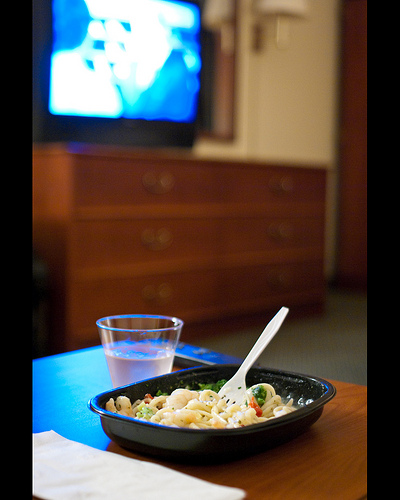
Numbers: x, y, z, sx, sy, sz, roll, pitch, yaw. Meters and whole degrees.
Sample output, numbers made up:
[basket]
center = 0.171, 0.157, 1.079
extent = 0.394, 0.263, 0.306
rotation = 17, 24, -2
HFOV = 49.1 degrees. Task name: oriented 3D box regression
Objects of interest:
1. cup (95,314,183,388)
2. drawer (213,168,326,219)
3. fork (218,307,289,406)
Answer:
[cup]
center = -0.064, 0.095, 0.464
extent = 0.080, 0.064, 0.081
rotation = 0, -1, 0
[drawer]
center = 0.397, -0.260, 2.526
extent = 0.562, 0.252, 0.796
rotation = 1, -3, 8
[fork]
center = 0.078, 0.100, 0.507
extent = 0.033, 0.020, 0.186
rotation = 30, 48, 15
